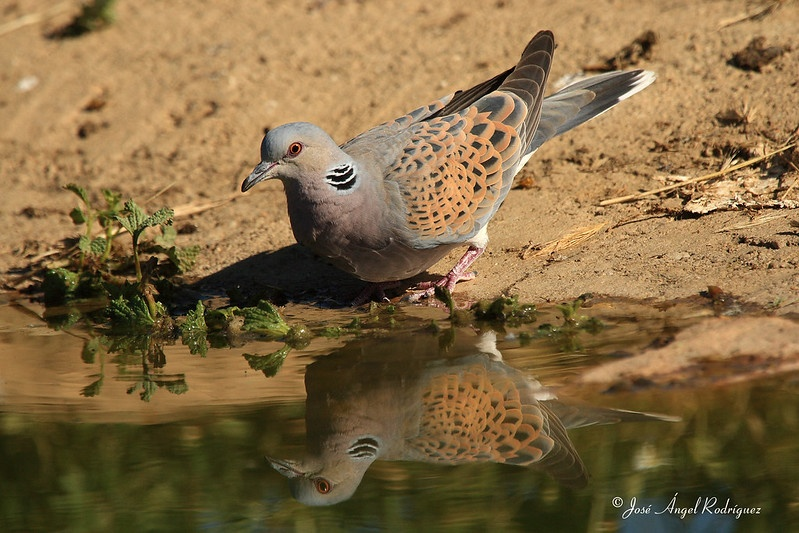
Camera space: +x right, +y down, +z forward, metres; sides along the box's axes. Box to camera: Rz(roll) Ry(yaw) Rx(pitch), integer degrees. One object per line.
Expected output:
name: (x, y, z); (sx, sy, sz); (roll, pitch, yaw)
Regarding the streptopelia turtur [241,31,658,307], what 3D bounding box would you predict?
streptopelia turtur: (0.370, -0.836, 8.761); (1.565, 1.569, 2.639); (42, 81, 16)
